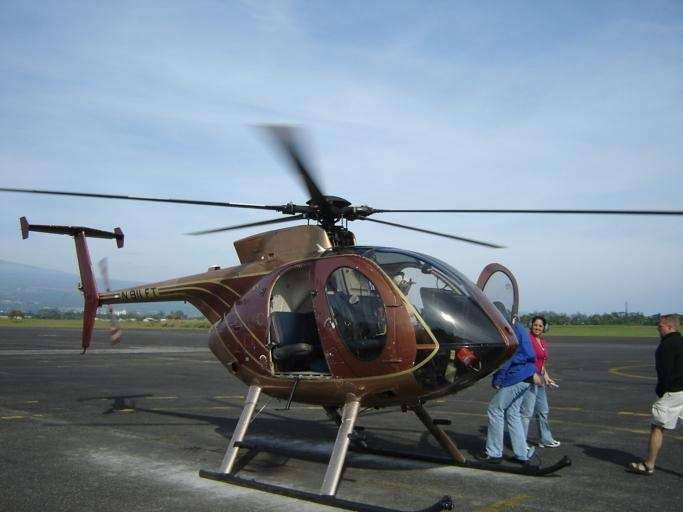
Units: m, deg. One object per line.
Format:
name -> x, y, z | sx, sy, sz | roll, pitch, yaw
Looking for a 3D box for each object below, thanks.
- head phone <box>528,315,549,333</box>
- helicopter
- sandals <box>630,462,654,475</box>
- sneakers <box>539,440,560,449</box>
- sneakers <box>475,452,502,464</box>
head phone -> 3.545, 1.185, 9.172 | 0.359, 0.213, 0.293 | 2, -17, 1
helicopter -> -0.220, 0.884, 8.576 | 8.360, 2.476, 6.803 | -3, -3, 36
sandals -> 4.473, 3.152, 7.606 | 0.314, 0.097, 0.169 | 3, 2, 42
sneakers -> 3.688, 3.323, 9.001 | 0.443, 0.122, 0.128 | -2, 1, 1
sneakers -> 2.289, 3.126, 7.915 | 0.351, 0.120, 0.160 | -5, -3, 31
